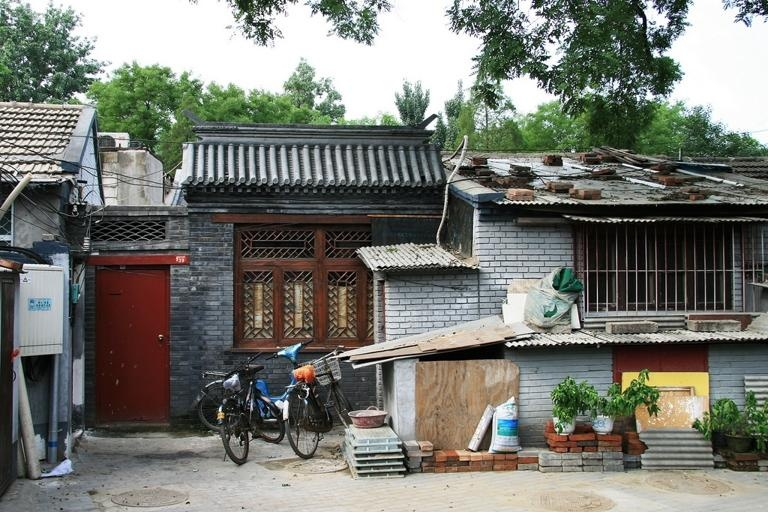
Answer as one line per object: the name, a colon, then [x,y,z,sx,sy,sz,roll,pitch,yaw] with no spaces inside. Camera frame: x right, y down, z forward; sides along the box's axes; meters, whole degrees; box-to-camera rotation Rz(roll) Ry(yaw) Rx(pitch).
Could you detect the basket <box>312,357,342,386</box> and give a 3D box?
basket: [-1.220,2.412,21.474,0.569,0.575,0.640,-5,4,-15]
